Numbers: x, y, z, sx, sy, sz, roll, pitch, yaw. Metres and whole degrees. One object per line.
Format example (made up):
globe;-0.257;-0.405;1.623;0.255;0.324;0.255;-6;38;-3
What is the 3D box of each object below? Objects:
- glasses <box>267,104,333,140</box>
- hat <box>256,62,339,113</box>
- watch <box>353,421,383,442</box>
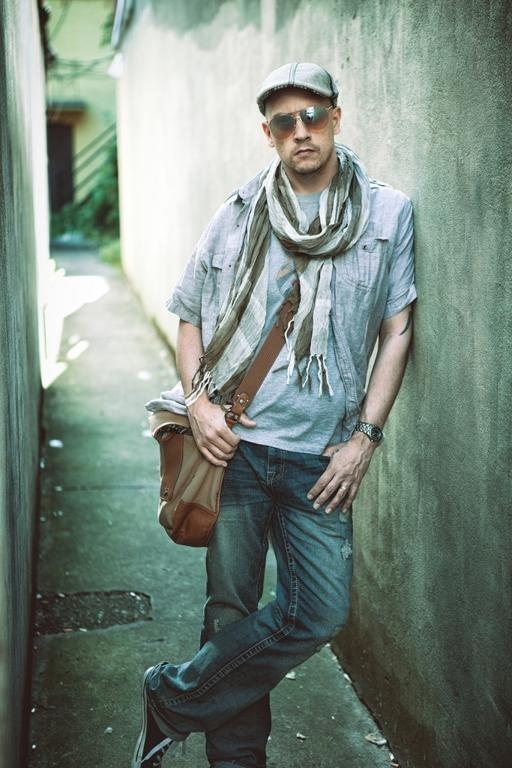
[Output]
glasses;0.106;-0.648;1.894;0.150;0.092;0.090;4;10;3
hat;0.102;-0.759;1.929;0.175;0.117;0.220;0;4;-2
watch;0.277;0.111;1.895;0.055;0.032;0.050;30;12;23
